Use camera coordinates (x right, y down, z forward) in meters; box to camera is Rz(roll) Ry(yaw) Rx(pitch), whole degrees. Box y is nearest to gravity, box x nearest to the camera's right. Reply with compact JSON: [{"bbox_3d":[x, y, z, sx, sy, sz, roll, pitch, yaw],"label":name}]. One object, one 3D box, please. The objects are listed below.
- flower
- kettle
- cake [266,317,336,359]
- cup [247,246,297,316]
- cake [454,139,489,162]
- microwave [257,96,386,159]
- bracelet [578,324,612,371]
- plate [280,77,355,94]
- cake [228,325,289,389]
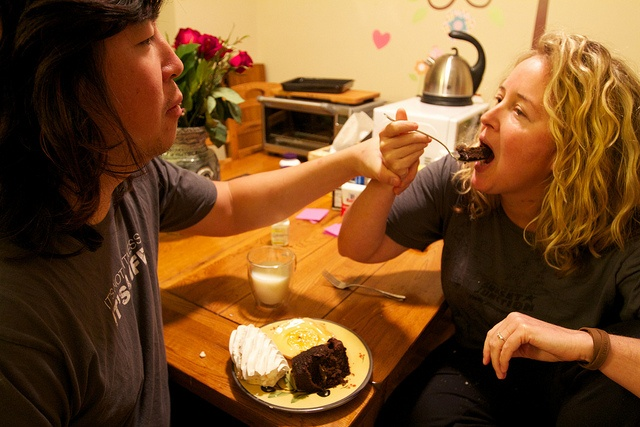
[{"bbox_3d":[-0.499,-0.587,2.119,0.353,0.392,0.294,26,15,0],"label":"flower"},{"bbox_3d":[0.684,-0.834,2.789,0.436,0.452,0.362,5,35,11],"label":"kettle"},{"bbox_3d":[-0.066,0.371,1.468,0.125,0.028,0.112,3,25,3],"label":"cake"},{"bbox_3d":[-0.140,0.216,1.642,0.194,0.205,0.195,1,19,0],"label":"cup"},{"bbox_3d":[0.494,-0.210,1.589,0.091,0.034,0.065,-4,1,7],"label":"cake"},{"bbox_3d":[-0.061,-0.653,3.271,0.635,0.398,0.532,17,31,29],"label":"microwave"},{"bbox_3d":[0.764,0.377,1.335,0.050,0.101,0.087,2,3,-14],"label":"bracelet"},{"bbox_3d":[-0.037,-0.839,3.151,0.333,0.043,0.211,4,21,16],"label":"plate"},{"bbox_3d":[-0.181,0.412,1.364,0.118,0.058,0.160,-31,44,-27],"label":"cake"}]
